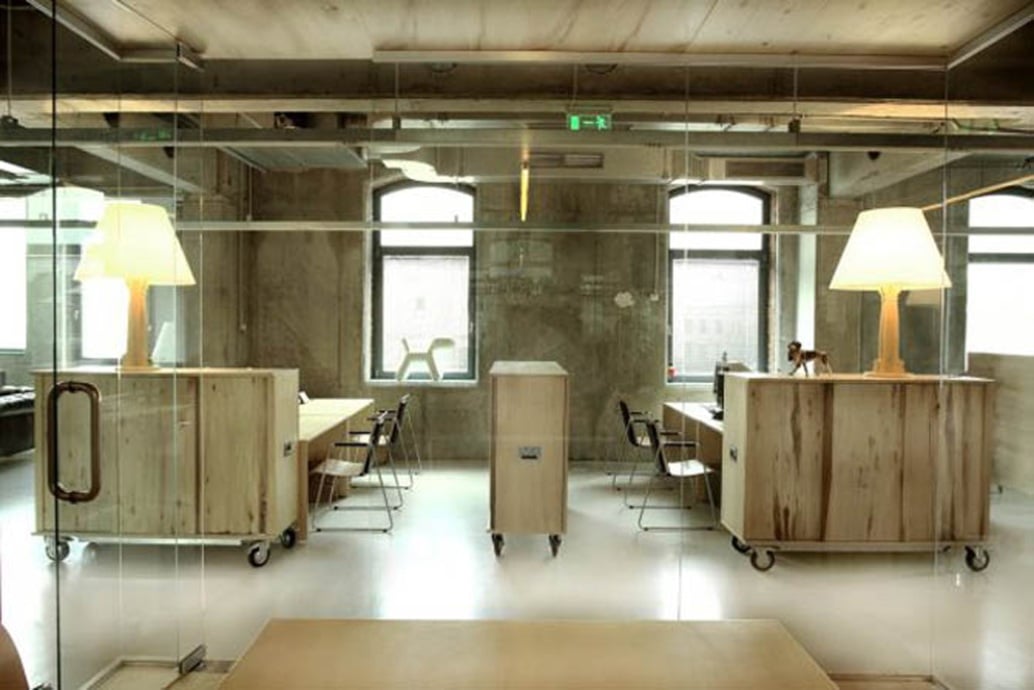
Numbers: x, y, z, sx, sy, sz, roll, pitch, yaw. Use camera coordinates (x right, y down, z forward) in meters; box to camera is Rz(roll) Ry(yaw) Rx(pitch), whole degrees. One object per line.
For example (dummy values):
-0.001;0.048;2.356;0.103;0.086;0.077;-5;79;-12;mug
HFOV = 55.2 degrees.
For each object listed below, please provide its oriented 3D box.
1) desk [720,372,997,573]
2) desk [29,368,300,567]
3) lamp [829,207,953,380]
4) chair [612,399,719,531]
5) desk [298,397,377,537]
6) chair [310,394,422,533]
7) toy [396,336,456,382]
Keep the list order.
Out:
2.055;0.748;6.133;1.534;1.091;0.580;1;-1;-7;desk
-1.954;0.510;5.878;1.588;1.268;0.903;3;-28;-36;desk
2.257;-0.307;6.011;0.711;1.048;0.668;1;-3;14;lamp
0.817;0.727;6.176;0.718;0.973;0.696;0;0;2;chair
-1.064;0.713;5.819;0.305;0.385;0.794;0;7;2;desk
-1.012;0.720;6.299;0.715;0.967;0.883;2;-1;1;chair
-0.593;0.068;5.844;0.333;0.271;0.109;2;16;-16;toy
